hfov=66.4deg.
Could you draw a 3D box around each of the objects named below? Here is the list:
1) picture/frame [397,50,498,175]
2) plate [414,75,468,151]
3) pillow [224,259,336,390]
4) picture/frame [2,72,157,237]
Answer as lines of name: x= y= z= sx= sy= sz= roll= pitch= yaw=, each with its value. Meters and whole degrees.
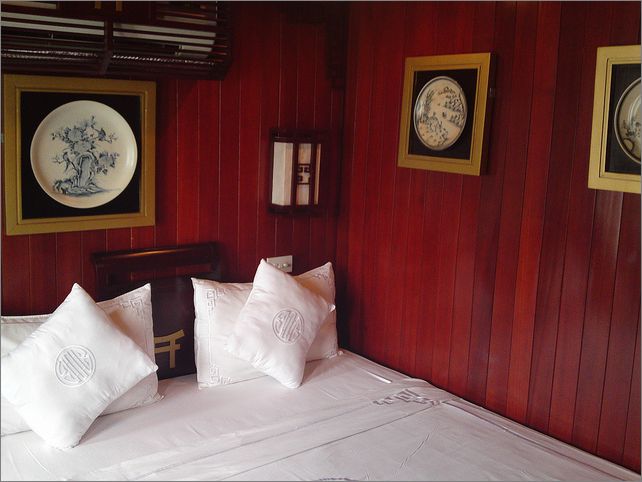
picture/frame: x=0.648 y=-0.677 z=2.609 sx=0.048 sy=0.684 sz=0.589 roll=-9 pitch=30 yaw=-45
plate: x=0.641 y=-0.679 z=2.580 sx=0.029 sy=0.459 sz=0.368 roll=-6 pitch=6 yaw=-37
pillow: x=-0.213 y=0.514 z=2.596 sx=0.441 sy=0.189 sz=0.554 roll=21 pitch=26 yaw=14
picture/frame: x=-1.169 y=-0.426 z=2.314 sx=0.645 sy=0.789 sz=0.053 roll=-2 pitch=8 yaw=-35
